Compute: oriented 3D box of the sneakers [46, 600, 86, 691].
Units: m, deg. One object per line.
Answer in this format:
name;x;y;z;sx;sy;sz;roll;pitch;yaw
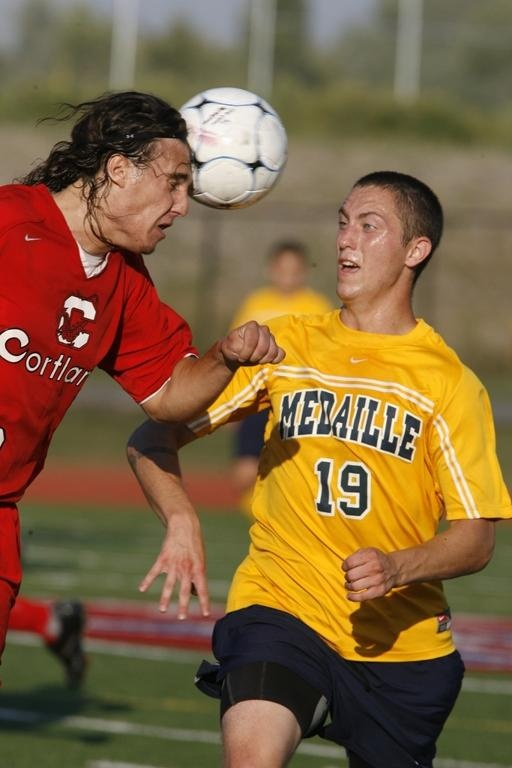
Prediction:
sneakers;-0.804;1.126;3.709;0.160;0.381;0.178;-3;-6;-4
